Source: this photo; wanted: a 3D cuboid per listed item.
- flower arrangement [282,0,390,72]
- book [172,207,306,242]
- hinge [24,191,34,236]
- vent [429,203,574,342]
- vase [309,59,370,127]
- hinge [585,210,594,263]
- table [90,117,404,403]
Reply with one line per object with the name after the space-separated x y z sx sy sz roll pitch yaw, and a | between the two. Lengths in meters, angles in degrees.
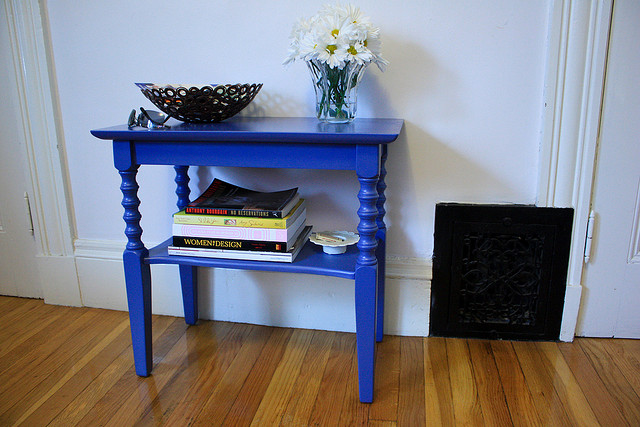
0.044 -0.643 1.887 0.296 0.197 0.294 8 17 28 | flower arrangement
-0.314 0.051 1.979 0.491 0.085 0.172 2 14 -4 | book
-1.369 0.000 2.426 0.033 0.217 0.013 8 15 17 | hinge
0.776 0.221 2.154 0.576 0.609 0.080 2 9 2 | vent
0.077 -0.463 2.027 0.240 0.196 0.261 6 6 10 | vase
1.104 0.095 2.117 0.028 0.219 0.024 11 16 27 | hinge
-0.259 0.146 2.143 1.078 1.022 0.610 2 12 10 | table
